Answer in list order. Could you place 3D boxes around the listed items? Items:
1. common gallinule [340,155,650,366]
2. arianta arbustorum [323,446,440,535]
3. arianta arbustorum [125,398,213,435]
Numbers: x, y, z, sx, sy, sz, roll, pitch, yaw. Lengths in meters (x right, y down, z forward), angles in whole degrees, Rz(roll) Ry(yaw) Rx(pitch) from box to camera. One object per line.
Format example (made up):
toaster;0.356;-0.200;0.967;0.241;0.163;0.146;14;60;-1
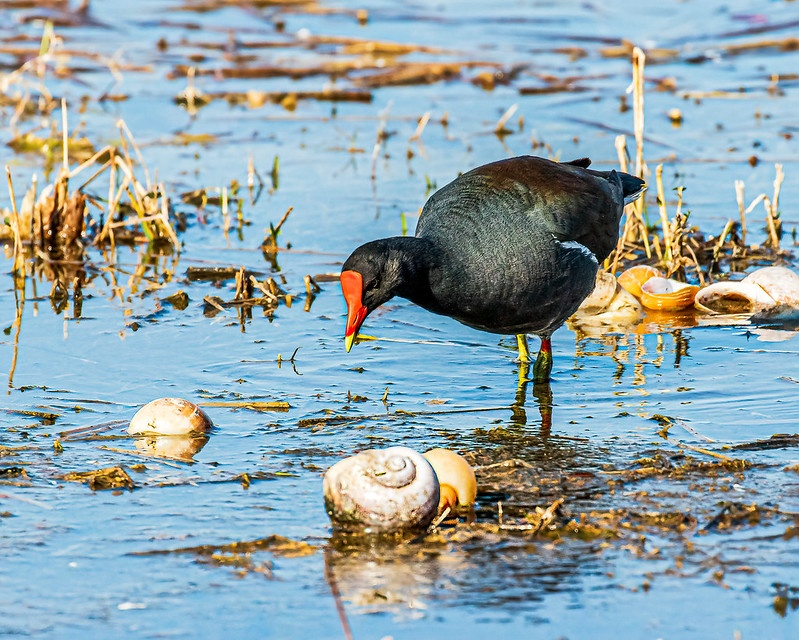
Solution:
common gallinule;0.533;-0.309;5.765;0.689;1.332;1.988;5;5;34
arianta arbustorum;-0.094;0.715;4.343;0.500;0.358;0.167;2;4;5
arianta arbustorum;-1.177;0.490;5.236;0.418;0.175;0.162;1;4;-8
